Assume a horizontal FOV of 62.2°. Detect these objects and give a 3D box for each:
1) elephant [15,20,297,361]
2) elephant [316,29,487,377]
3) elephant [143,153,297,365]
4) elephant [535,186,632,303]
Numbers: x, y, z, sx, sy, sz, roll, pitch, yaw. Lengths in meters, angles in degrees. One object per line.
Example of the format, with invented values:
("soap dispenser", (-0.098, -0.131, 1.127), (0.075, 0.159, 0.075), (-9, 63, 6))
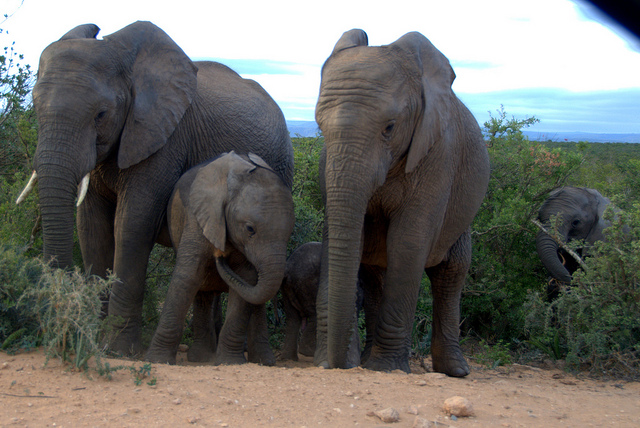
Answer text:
("elephant", (-1.921, -0.315, 8.325), (4.079, 4.465, 2.061), (2, -3, -32))
("elephant", (0.881, -0.121, 6.235), (1.976, 3.895, 0.818), (-1, 5, -38))
("elephant", (-1.379, 0.605, 7.157), (1.499, 2.882, 3.124), (5, 0, -39))
("elephant", (5.553, 0.711, 11.384), (3.418, 2.361, 1.868), (8, -4, -41))
